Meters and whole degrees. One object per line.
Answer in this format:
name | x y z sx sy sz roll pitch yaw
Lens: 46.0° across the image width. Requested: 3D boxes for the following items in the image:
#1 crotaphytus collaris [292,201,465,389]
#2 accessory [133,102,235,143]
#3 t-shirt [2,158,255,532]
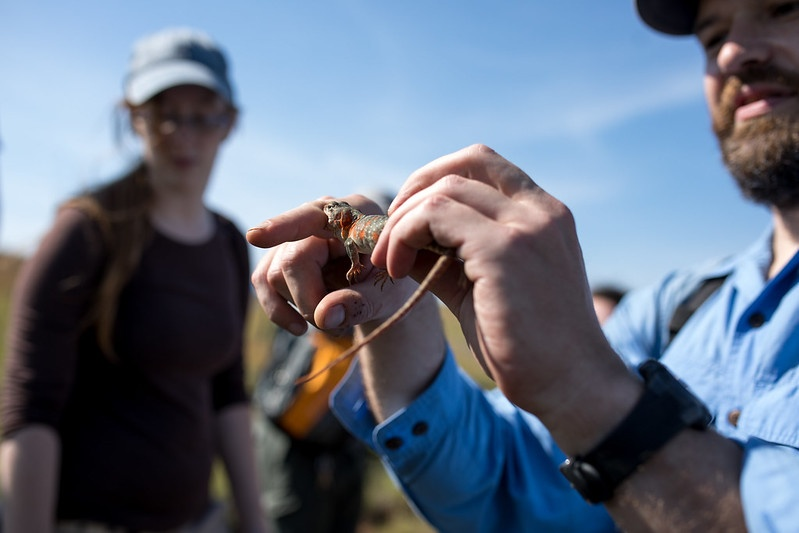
crotaphytus collaris | 0.127 0.165 5.990 0.546 0.989 1.691 -4 25 -13
accessory | -1.446 -0.959 6.350 0.471 0.279 0.109 -3 30 -26
t-shirt | -1.816 0.601 6.142 0.789 2.444 2.302 1 0 33
